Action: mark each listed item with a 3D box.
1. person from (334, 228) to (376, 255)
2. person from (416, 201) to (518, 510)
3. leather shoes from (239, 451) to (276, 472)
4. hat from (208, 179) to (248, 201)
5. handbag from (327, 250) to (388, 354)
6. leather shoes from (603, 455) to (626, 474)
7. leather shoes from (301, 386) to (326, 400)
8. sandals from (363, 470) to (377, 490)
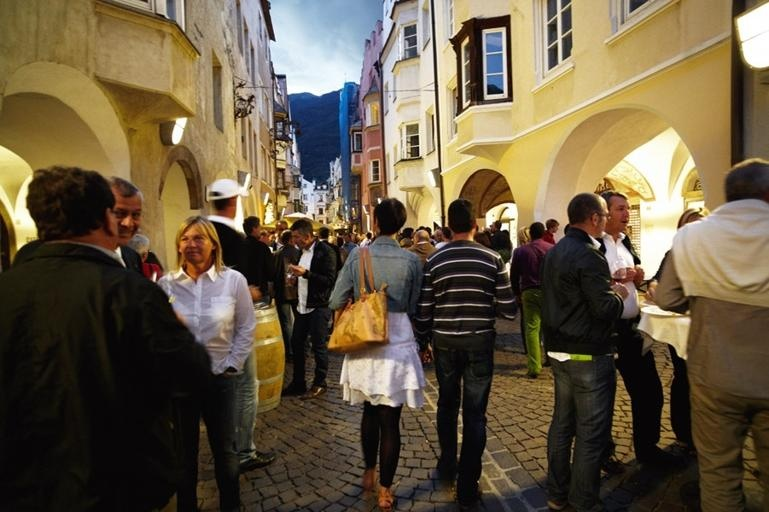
[{"bbox_3d":[-0.721,-0.397,13.304,1.285,0.485,0.444,5,17,16],"label":"person"},{"bbox_3d":[0.783,0.899,5.607,0.675,2.937,0.792,-1,2,-44],"label":"person"},{"bbox_3d":[-1.338,2.167,5.971,0.386,0.174,0.142,-12,19,-22],"label":"leather shoes"},{"bbox_3d":[-1.618,-0.699,5.876,0.405,0.186,0.292,-9,11,-21],"label":"hat"},{"bbox_3d":[-0.233,0.414,5.337,0.559,1.003,0.352,1,2,7],"label":"handbag"},{"bbox_3d":[2.307,2.128,5.683,0.110,0.116,0.258,-2,-4,-29],"label":"leather shoes"},{"bbox_3d":[-0.936,1.844,7.530,0.297,0.125,0.109,7,-14,-44],"label":"leather shoes"},{"bbox_3d":[-0.148,2.231,5.542,0.092,0.215,0.146,4,-18,-6],"label":"sandals"}]
